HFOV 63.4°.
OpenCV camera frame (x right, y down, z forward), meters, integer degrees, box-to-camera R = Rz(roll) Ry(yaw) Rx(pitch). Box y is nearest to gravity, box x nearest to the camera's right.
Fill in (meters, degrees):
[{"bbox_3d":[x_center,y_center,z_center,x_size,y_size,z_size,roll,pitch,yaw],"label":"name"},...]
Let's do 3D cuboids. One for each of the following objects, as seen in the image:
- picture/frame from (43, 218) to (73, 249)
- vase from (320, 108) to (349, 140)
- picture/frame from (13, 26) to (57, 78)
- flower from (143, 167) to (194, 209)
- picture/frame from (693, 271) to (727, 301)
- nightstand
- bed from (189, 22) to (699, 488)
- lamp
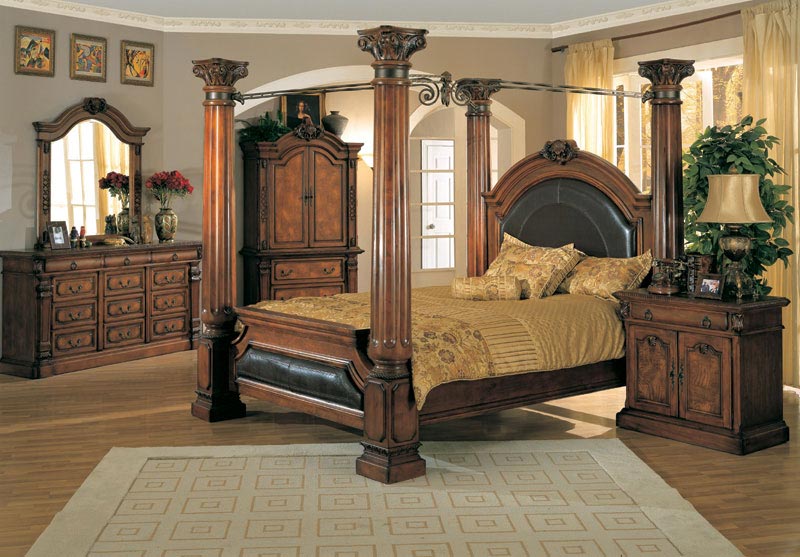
[{"bbox_3d":[-3.524,-0.446,6.645,0.030,0.362,0.361,-23,-4,36],"label":"picture/frame"},{"bbox_3d":[-0.830,-1.965,8.378,0.450,0.352,0.419,0,0,-6],"label":"vase"},{"bbox_3d":[-3.721,-2.296,6.587,0.055,0.475,0.387,5,10,41],"label":"picture/frame"},{"bbox_3d":[-2.552,-1.021,7.287,0.564,0.387,0.507,2,10,3],"label":"flower"},{"bbox_3d":[2.186,0.062,4.561,0.018,0.197,0.234,22,-16,-35],"label":"picture/frame"},{"bbox_3d":[2.146,0.651,4.648,1.095,1.042,0.503,3,9,30],"label":"nightstand"},{"bbox_3d":[0.338,-0.217,5.502,3.255,2.319,2.917,-14,13,-35],"label":"bed"},{"bbox_3d":[2.374,-0.310,4.643,0.441,0.870,0.572,5,11,42],"label":"lamp"}]
